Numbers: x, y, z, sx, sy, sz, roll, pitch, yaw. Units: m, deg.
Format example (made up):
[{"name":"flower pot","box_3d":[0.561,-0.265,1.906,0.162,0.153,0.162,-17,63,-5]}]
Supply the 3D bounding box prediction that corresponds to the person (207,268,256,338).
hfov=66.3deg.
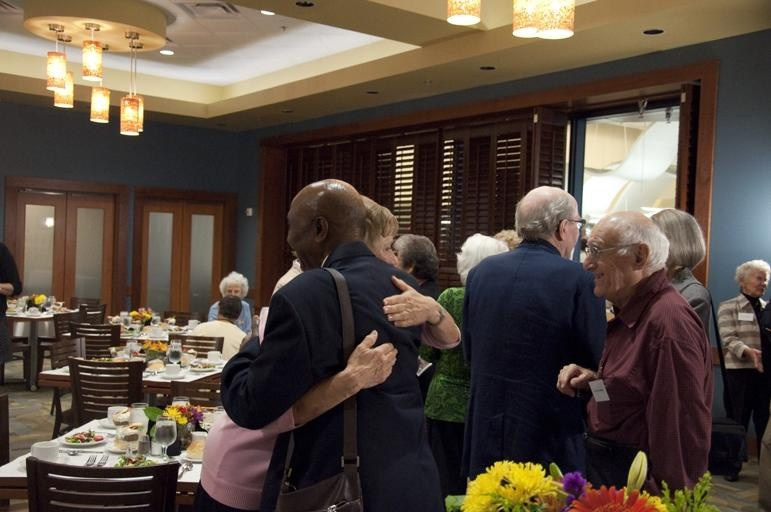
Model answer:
[{"name":"person","box_3d":[-1.919,0.652,7.248,0.586,0.883,0.669,5,3,36]}]

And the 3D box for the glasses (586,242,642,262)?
[{"name":"glasses","box_3d":[0.943,-0.024,2.414,0.195,0.066,0.038,-1,0,24]}]

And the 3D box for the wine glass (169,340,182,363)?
[{"name":"wine glass","box_3d":[-1.839,0.832,5.094,0.115,0.175,0.101,-1,0,-2]}]

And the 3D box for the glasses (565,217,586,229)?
[{"name":"glasses","box_3d":[0.951,-0.168,2.896,0.117,0.035,0.111,-1,-2,2]}]

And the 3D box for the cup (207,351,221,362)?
[{"name":"cup","box_3d":[-1.560,0.907,5.326,0.096,0.069,0.095,0,-1,0]}]

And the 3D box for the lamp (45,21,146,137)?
[{"name":"lamp","box_3d":[-3.209,-2.091,6.754,1.269,1.138,1.107,6,-8,-25]}]

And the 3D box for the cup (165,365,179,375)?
[{"name":"cup","box_3d":[-1.782,0.945,4.913,0.086,0.061,0.085,0,-1,0]}]

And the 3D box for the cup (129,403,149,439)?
[{"name":"cup","box_3d":[-1.388,0.912,3.310,0.102,0.154,0.099,2,-1,0]}]

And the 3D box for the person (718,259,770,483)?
[{"name":"person","box_3d":[3.346,0.873,5.453,0.434,2.109,0.338,-1,0,28]}]

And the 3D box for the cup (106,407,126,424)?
[{"name":"cup","box_3d":[-1.594,0.946,3.523,0.103,0.080,0.118,1,0,30]}]

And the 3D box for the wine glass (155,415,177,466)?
[{"name":"wine glass","box_3d":[-1.173,0.969,3.131,0.117,0.189,0.136,-1,0,-23]}]
